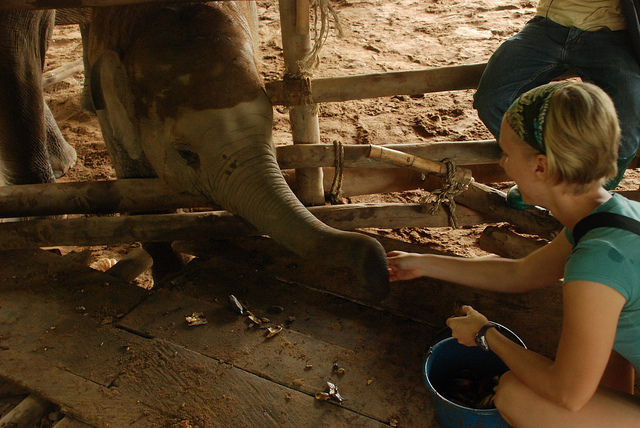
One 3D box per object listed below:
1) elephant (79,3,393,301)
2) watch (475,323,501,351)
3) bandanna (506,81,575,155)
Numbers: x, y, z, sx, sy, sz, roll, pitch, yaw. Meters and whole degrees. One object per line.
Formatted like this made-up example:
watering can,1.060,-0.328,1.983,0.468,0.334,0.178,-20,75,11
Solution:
elephant,-0.582,-0.330,3.386,0.837,1.336,2.523,-24,73,-31
watch,0.777,0.568,2.493,0.096,0.115,0.061,-7,28,-12
bandanna,0.902,-0.419,2.251,0.237,0.266,0.204,13,30,24
